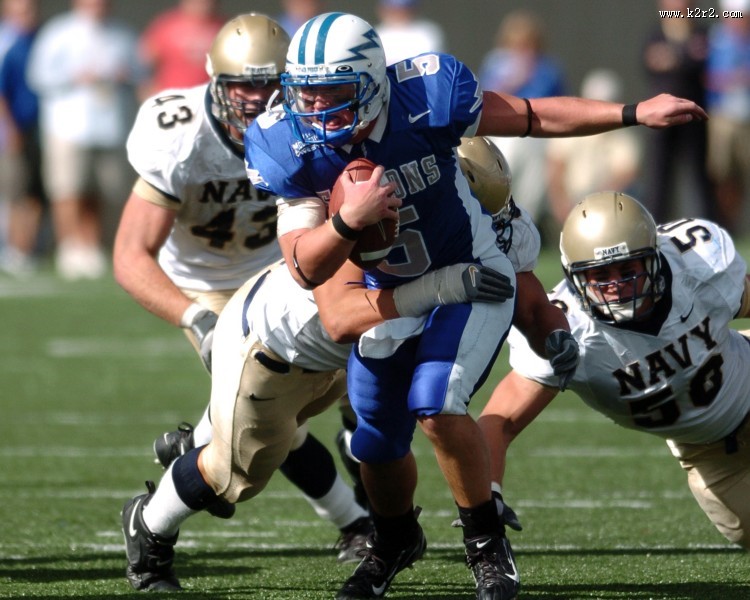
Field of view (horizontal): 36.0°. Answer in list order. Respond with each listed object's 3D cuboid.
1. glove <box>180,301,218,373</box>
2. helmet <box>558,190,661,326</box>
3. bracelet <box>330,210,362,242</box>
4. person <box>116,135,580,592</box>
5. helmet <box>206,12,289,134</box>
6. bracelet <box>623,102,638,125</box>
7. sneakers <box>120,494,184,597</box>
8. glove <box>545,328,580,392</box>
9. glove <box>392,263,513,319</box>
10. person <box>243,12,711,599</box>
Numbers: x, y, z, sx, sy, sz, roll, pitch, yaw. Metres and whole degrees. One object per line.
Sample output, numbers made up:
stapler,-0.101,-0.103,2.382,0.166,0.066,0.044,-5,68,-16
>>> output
glove,-0.596,0.145,3.915,0.125,0.213,0.155,26,51,3
helmet,0.823,-0.170,3.851,0.312,0.360,0.437,-21,21,20
bracelet,-0.067,-0.203,3.190,0.101,0.083,0.078,-3,7,-27
person,-0.133,0.143,4.201,1.872,1.480,0.902,-18,5,14
helmet,-0.426,-0.834,4.156,0.321,0.415,0.413,-1,6,-7
bracelet,0.766,-0.564,3.481,0.044,0.056,0.056,-1,-11,6
sneakers,-0.719,0.806,3.809,0.162,0.376,0.133,-24,-16,31
glove,0.588,0.185,3.504,0.060,0.117,0.163,-9,44,22
glove,0.217,-0.011,3.445,0.400,0.123,0.142,-12,41,25
person,0.188,0.052,3.480,1.058,1.793,0.538,-2,7,-23
